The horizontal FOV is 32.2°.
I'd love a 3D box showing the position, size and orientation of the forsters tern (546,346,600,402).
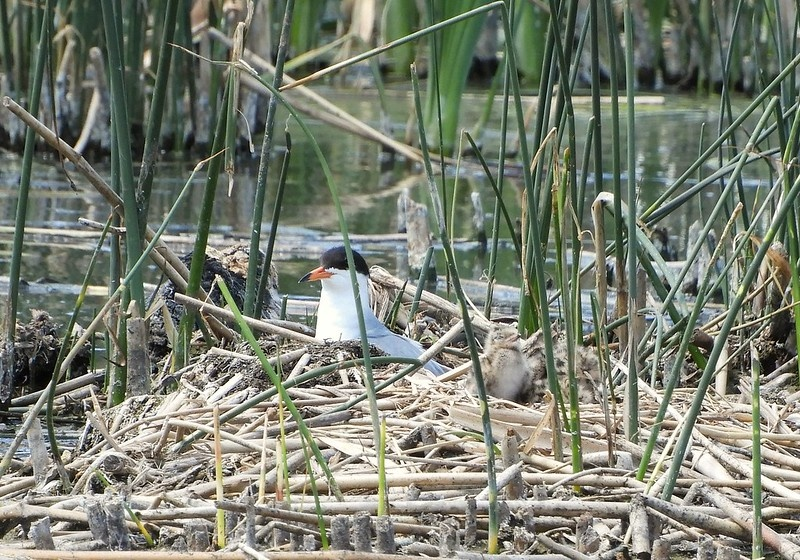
[{"bbox_3d":[1.006,0.568,8.068,0.336,0.191,0.482,2,44,-3],"label":"forsters tern"}]
